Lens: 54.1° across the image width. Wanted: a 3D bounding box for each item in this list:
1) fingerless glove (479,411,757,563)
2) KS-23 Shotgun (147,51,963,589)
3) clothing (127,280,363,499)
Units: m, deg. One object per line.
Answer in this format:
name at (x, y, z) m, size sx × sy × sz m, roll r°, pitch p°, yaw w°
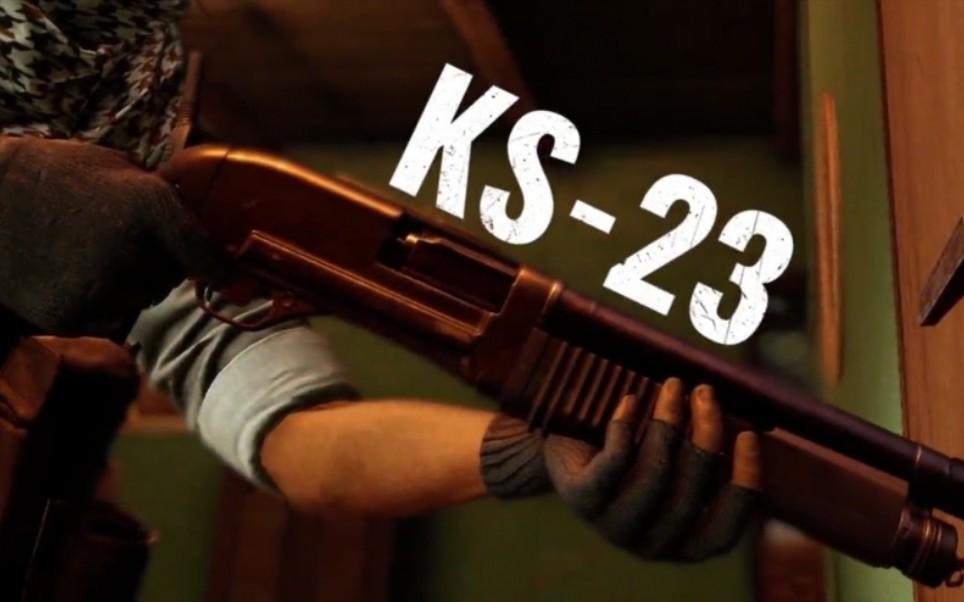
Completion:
fingerless glove at (0.152, 0.222, 1.150) m, size 0.339 × 0.147 × 0.119 m, roll 6°, pitch 54°, yaw 20°
KS-23 Shotgun at (0.072, 0.077, 1.177) m, size 1.014 × 0.450 × 0.171 m, roll 10°, pitch 54°, yaw 23°
clothing at (-0.363, 0.129, 1.548) m, size 0.320 × 0.128 × 0.321 m, roll -45°, pitch 76°, yaw 6°
